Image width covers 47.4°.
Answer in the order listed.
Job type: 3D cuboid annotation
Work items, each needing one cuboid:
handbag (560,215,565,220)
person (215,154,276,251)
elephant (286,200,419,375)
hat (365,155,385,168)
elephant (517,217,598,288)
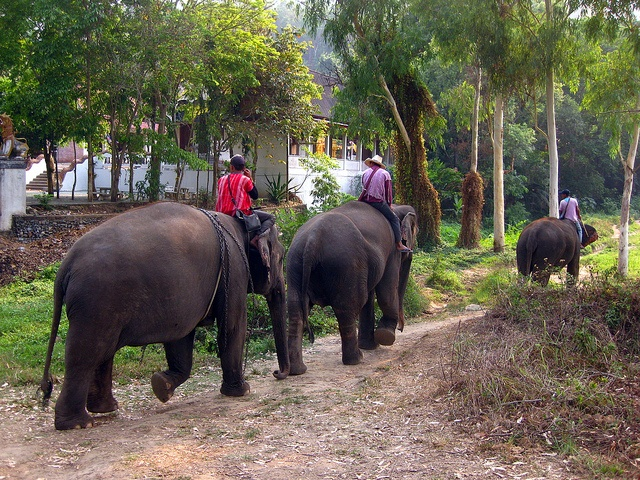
[{"bbox_3d":[5.258,-0.492,15.824,0.080,0.087,0.075,-2,1,-40],"label":"handbag"},{"bbox_3d":[-1.186,-0.550,11.156,0.933,1.464,1.013,1,-3,28],"label":"person"},{"bbox_3d":[0.541,0.721,11.890,2.707,2.575,0.947,-11,15,-39],"label":"elephant"},{"bbox_3d":[0.964,-1.403,12.722,0.236,0.130,0.293,28,-16,1],"label":"hat"},{"bbox_3d":[4.715,0.262,14.809,1.164,1.281,2.484,11,18,44],"label":"elephant"}]
